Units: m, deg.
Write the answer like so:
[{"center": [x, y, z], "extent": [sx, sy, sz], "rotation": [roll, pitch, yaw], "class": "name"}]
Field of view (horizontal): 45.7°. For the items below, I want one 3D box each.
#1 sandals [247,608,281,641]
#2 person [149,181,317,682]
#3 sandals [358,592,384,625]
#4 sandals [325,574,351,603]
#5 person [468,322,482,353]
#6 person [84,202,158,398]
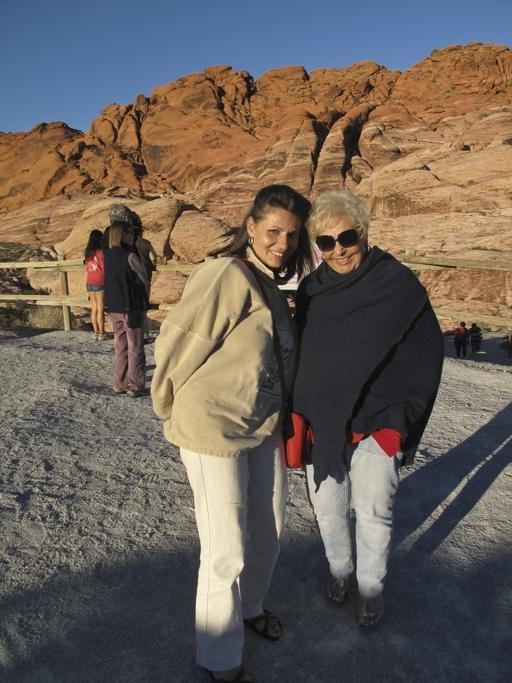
[{"center": [0.035, 0.992, 2.136], "extent": [0.139, 0.037, 0.072], "rotation": [23, 21, 24], "class": "sandals"}, {"center": [-0.086, 0.286, 1.980], "extent": [0.396, 1.555, 0.666], "rotation": [2, 14, 16], "class": "person"}, {"center": [0.411, 0.963, 2.180], "extent": [0.078, 0.104, 0.116], "rotation": [-1, 1, 18], "class": "sandals"}, {"center": [0.308, 0.941, 2.320], "extent": [0.066, 0.040, 0.117], "rotation": [0, 11, 11], "class": "sandals"}, {"center": [4.139, -0.048, 11.470], "extent": [0.219, 0.684, 1.194], "rotation": [3, 13, 19], "class": "person"}, {"center": [-0.993, -0.283, 4.649], "extent": [0.349, 1.476, 0.706], "rotation": [-6, 14, -13], "class": "person"}]
